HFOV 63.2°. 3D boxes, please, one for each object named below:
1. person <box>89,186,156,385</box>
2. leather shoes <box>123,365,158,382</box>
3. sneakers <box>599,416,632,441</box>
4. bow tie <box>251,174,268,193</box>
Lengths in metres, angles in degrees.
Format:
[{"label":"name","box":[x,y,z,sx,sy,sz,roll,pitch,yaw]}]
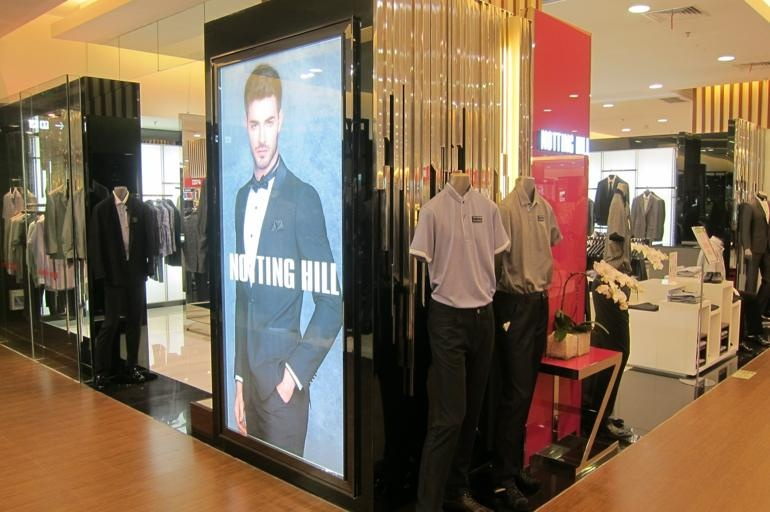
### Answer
[{"label":"person","box":[-3.006,0.321,7.225,0.651,2.228,0.226,-2,7,-24]},{"label":"leather shoes","box":[-2.861,1.394,7.370,0.398,0.194,0.155,-1,4,-24]},{"label":"sneakers","box":[2.212,1.654,6.008,0.160,0.138,0.328,-2,-4,-12]},{"label":"bow tie","box":[-1.064,-0.622,5.314,0.149,0.120,0.059,2,2,29]}]
